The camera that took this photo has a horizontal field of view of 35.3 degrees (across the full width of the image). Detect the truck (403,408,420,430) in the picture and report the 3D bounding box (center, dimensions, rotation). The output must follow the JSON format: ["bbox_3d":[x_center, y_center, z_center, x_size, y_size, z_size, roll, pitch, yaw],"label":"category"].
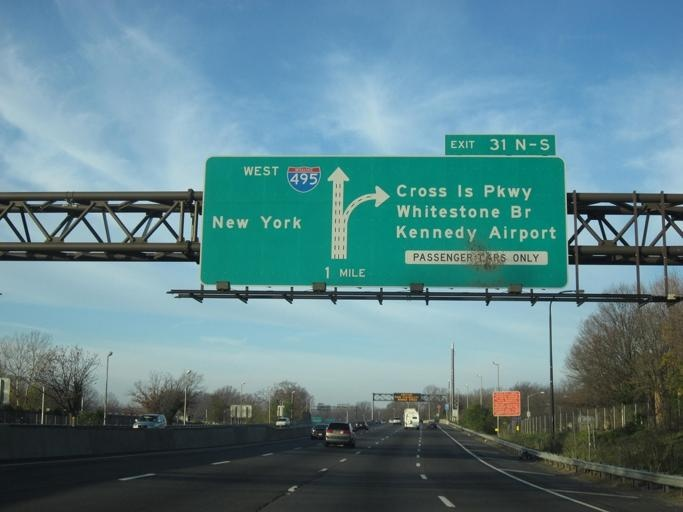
[{"bbox_3d":[9.590,21.831,142.886,1.675,1.960,3.374,0,-11,0],"label":"truck"}]

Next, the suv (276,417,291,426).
[{"bbox_3d":[-6.711,19.119,123.404,1.249,1.197,2.169,0,-19,3],"label":"suv"}]
